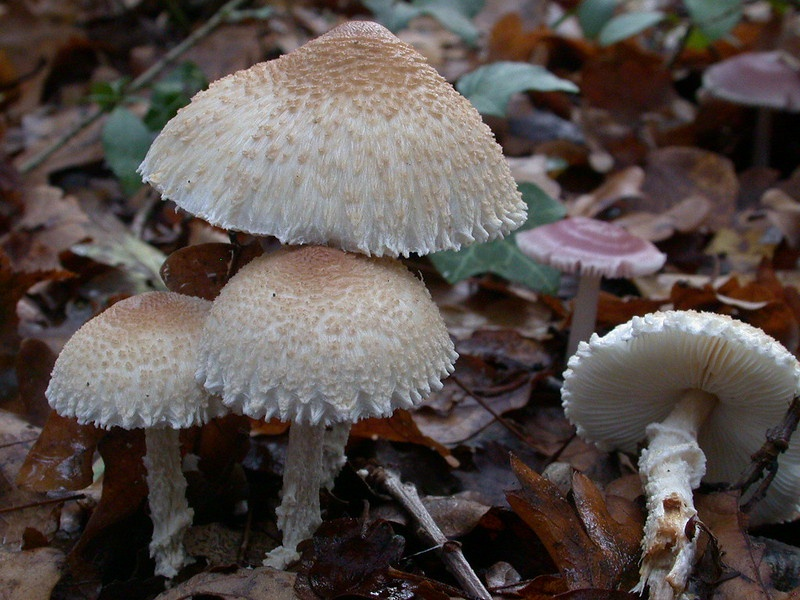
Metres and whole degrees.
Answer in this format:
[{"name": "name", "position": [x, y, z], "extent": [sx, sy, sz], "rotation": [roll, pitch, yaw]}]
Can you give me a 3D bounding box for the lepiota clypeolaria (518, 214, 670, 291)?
[{"name": "lepiota clypeolaria", "position": [1.090, -0.299, 4.556], "extent": [0.836, 0.265, 0.435], "rotation": [-1, 57, 15]}]
